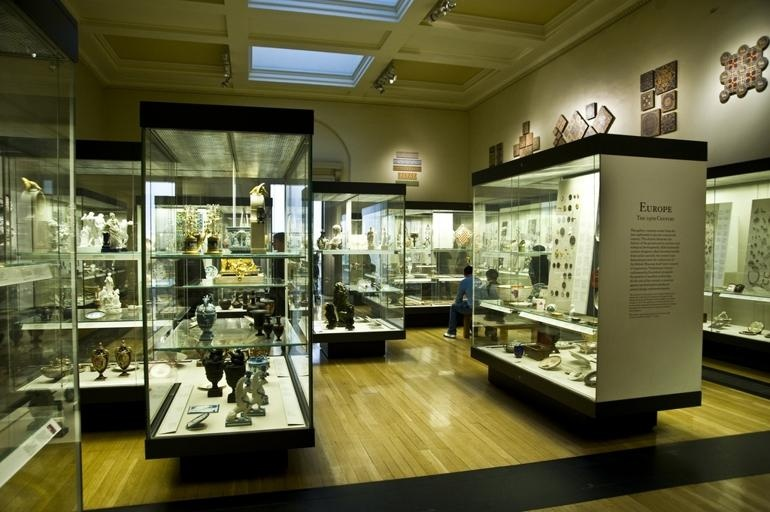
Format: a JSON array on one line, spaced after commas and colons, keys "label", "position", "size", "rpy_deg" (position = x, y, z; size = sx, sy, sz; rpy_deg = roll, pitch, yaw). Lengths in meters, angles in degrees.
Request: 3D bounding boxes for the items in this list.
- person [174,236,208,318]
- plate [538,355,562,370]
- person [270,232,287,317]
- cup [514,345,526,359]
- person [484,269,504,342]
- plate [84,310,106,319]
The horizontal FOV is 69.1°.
[{"label": "person", "position": [-1.726, 0.194, 4.941], "size": [0.267, 0.739, 0.197], "rpy_deg": [-4, 8, -18]}, {"label": "plate", "position": [1.729, 1.097, 5.797], "size": [0.062, 0.178, 0.279], "rpy_deg": [-6, 9, -31]}, {"label": "person", "position": [-1.000, 0.175, 5.179], "size": [0.111, 0.780, 0.233], "rpy_deg": [1, 8, 18]}, {"label": "cup", "position": [1.504, 1.054, 6.216], "size": [0.145, 0.148, 0.140], "rpy_deg": [1, -1, 0]}, {"label": "person", "position": [1.290, 0.576, 6.645], "size": [0.129, 0.830, 0.399], "rpy_deg": [-3, 8, -14]}, {"label": "plate", "position": [-2.942, 0.592, 5.633], "size": [0.163, 0.083, 0.027], "rpy_deg": [-4, 8, -24]}]
